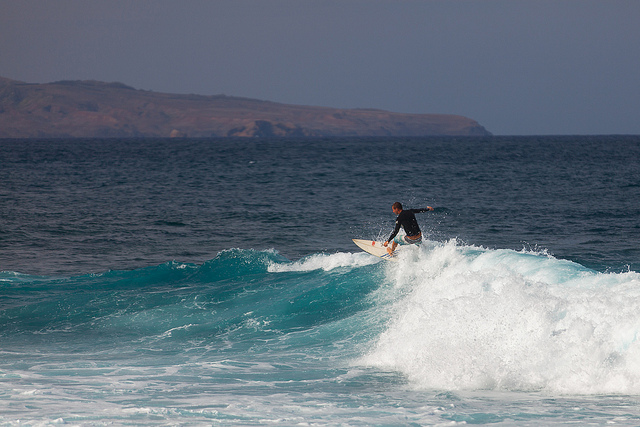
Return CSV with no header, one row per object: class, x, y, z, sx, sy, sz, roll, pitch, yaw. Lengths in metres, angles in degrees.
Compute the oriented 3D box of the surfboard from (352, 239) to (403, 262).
surfboard,2.958,1.901,57.046,0.883,1.079,2.774,5,-3,-32
